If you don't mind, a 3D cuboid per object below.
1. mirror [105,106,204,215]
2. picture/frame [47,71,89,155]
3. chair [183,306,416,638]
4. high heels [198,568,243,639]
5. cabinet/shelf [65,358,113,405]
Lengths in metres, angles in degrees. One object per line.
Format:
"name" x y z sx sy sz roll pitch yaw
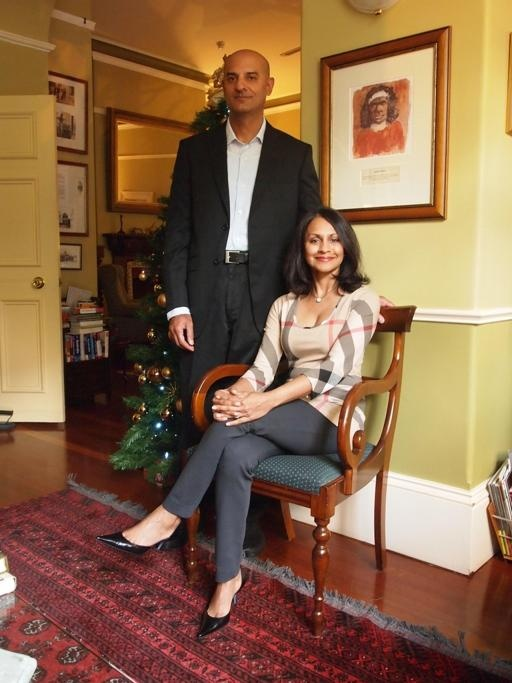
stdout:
"mirror" -1.526 -2.564 7.732 0.085 1.319 1.692 17 21 29
"picture/frame" -1.904 -2.280 5.315 0.179 0.701 0.481 9 14 35
"chair" 0.124 0.329 1.630 0.735 0.831 0.680 -1 5 -4
"high heels" -0.102 0.706 1.377 0.027 0.143 0.048 14 3 -36
"cabinet/shelf" -1.292 0.366 4.418 0.596 0.384 0.319 -5 -7 33
